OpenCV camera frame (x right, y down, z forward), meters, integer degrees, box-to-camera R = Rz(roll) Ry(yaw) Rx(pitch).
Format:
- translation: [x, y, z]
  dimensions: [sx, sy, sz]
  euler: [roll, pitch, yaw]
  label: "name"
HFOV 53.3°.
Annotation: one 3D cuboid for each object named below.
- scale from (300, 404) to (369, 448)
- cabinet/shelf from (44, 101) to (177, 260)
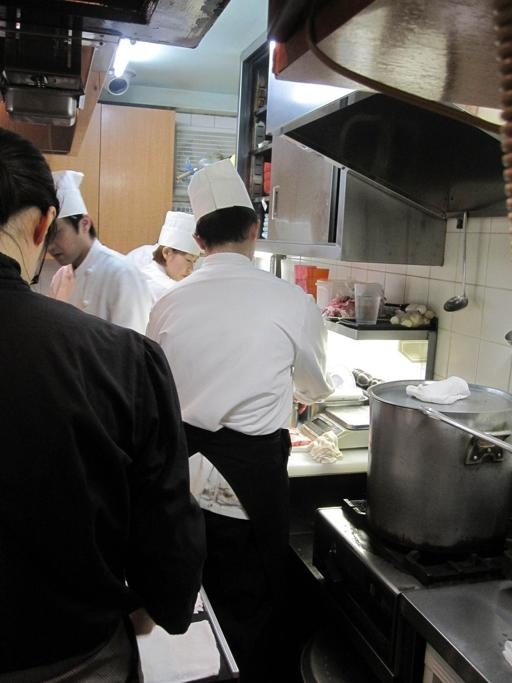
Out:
- translation: [0.342, 0.349, 2.080]
  dimensions: [0.258, 0.097, 0.190]
  euler: [4, 13, -41]
  label: "scale"
- translation: [-1.175, -1.230, 4.020]
  dimensions: [0.987, 1.103, 0.352]
  euler: [1, -6, -7]
  label: "cabinet/shelf"
